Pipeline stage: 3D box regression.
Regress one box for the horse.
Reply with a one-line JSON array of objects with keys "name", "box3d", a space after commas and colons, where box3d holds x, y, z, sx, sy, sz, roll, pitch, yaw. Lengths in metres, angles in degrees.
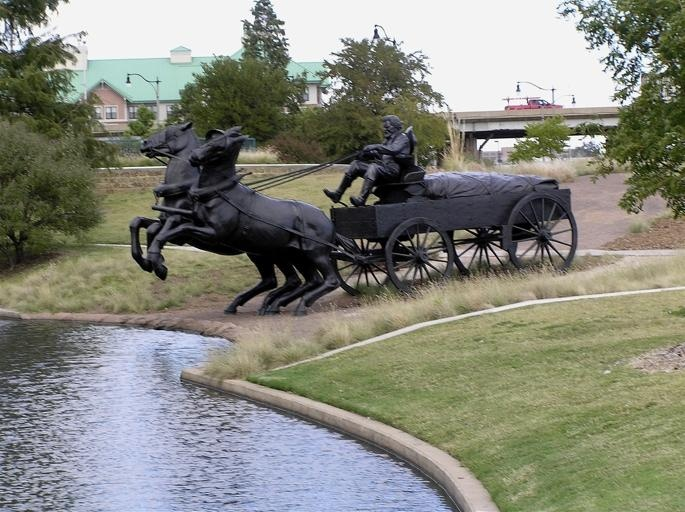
[{"name": "horse", "box3d": [-2.304, -0.742, 20.056, 4.343, 4.292, 1.656, -4, 12, -23]}]
